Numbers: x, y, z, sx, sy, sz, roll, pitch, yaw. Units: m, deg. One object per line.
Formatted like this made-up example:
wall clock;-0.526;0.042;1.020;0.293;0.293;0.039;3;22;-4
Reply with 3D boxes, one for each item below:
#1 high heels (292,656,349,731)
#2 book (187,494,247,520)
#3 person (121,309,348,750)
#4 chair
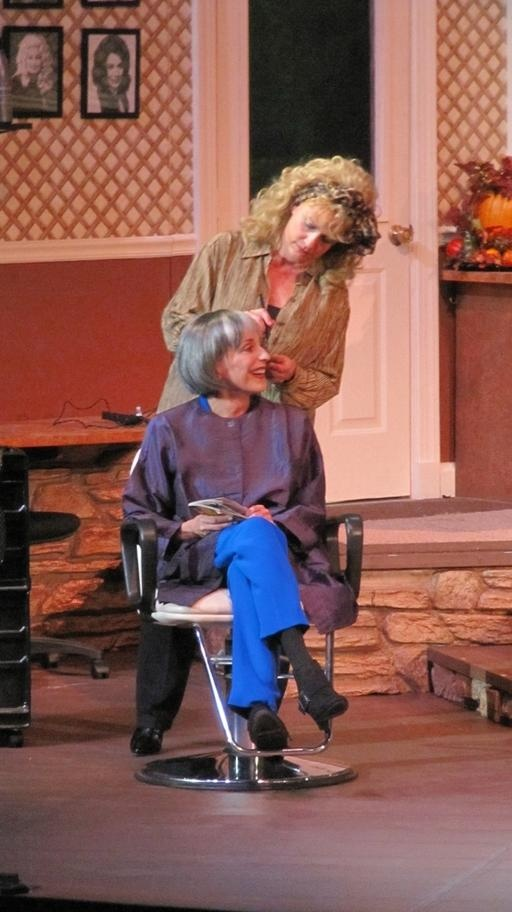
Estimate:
high heels;0.117;0.438;1.675;0.064;0.114;0.163;-29;-22;-6
book;-0.067;0.102;1.757;0.100;0.039;0.117;0;-4;0
person;-0.041;0.130;1.872;0.496;0.877;0.429;0;-3;6
chair;-0.020;0.367;2.120;0.499;0.733;0.521;1;-16;7
